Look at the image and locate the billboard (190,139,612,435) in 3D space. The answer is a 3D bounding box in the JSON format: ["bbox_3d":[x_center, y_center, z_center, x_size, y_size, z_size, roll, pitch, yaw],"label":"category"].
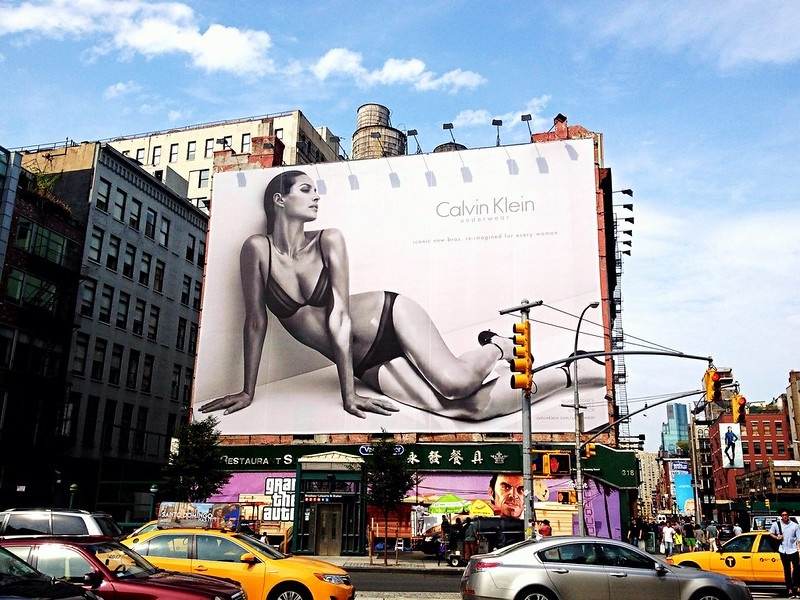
[{"bbox_3d":[0.672,-0.217,52.949,20.440,14.028,0.167,-4,-16,14],"label":"billboard"}]

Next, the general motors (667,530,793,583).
[{"bbox_3d":[11.203,8.756,27.426,3.778,1.274,1.748,-2,-24,15],"label":"general motors"}]
